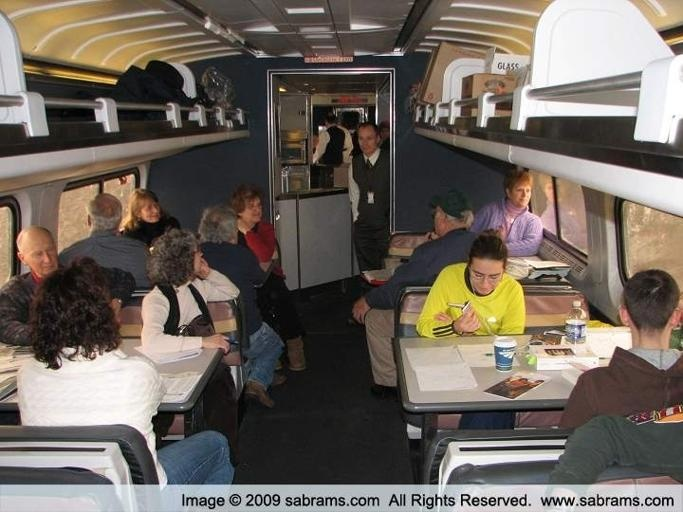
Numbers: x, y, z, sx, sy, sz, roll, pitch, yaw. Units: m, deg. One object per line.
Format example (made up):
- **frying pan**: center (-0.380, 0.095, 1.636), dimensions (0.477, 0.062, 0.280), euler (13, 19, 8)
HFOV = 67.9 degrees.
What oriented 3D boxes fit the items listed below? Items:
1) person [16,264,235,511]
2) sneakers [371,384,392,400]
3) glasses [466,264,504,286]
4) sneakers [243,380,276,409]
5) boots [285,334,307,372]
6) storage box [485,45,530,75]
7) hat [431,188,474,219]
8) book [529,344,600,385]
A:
- **person**: center (-1.193, 0.696, 2.626), dimensions (1.128, 1.177, 0.794), euler (-2, -8, -16)
- **sneakers**: center (0.402, 1.266, 4.761), dimensions (0.135, 0.084, 0.174), euler (1, 3, 4)
- **glasses**: center (0.944, 0.130, 3.316), dimensions (0.218, 0.232, 0.159), euler (3, 50, 8)
- **sneakers**: center (-0.728, 1.214, 4.492), dimensions (0.128, 0.367, 0.243), euler (-33, 36, 18)
- **boots**: center (-0.506, 1.045, 5.456), dimensions (0.163, 0.347, 0.382), euler (-6, -8, -18)
- **storage box**: center (1.305, -1.551, 4.064), dimensions (0.349, 0.190, 0.325), euler (2, 11, 1)
- **hat**: center (0.962, -0.496, 4.490), dimensions (0.237, 0.191, 0.322), euler (-27, 51, -31)
- **book**: center (1.342, 0.615, 3.013), dimensions (0.249, 0.054, 0.239), euler (0, 13, 3)
